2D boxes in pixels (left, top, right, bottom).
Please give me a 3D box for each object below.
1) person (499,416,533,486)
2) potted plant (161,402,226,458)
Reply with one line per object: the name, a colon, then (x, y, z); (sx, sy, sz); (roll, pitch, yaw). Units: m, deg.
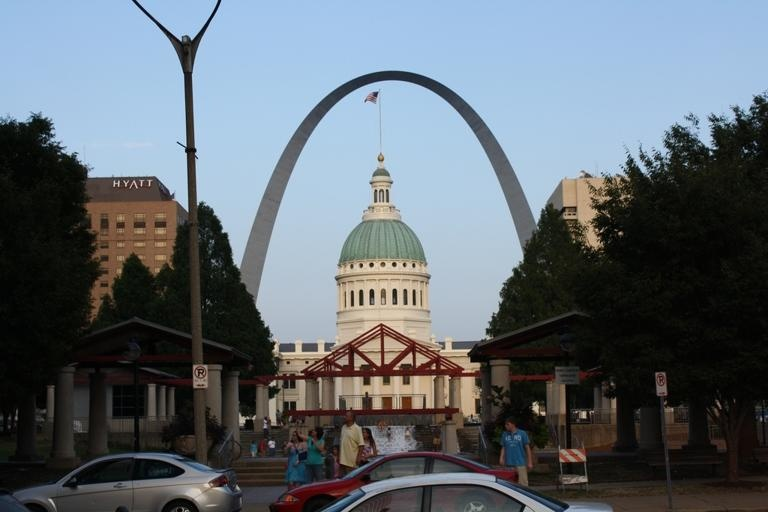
person: (4.495, 7.090, 44.664); (1.119, 3.048, 0.784); (-4, -2, 24)
potted plant: (-8.498, 7.430, 54.971); (1.838, 2.361, 3.797); (-4, 7, -35)
